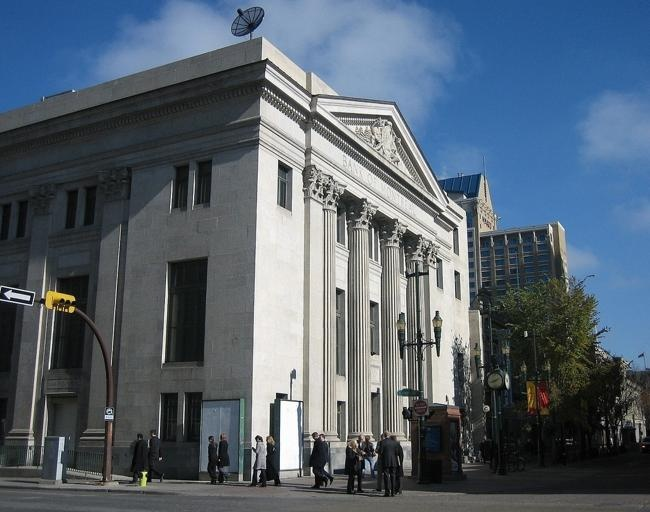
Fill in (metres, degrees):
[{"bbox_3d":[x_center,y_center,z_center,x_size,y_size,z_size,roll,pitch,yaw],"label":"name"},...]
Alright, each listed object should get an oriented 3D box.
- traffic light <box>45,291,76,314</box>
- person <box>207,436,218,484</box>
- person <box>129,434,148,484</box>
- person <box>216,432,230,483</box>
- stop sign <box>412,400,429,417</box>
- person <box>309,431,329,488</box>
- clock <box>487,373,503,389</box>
[{"bbox_3d":[-11.530,1.958,30.184,1.245,0.873,0.736,10,-22,-26],"label":"traffic light"},{"bbox_3d":[-5.171,9.371,31.964,0.472,2.007,1.199,3,-19,-8],"label":"person"},{"bbox_3d":[-8.196,8.868,30.674,0.707,2.091,1.116,5,-19,-14],"label":"person"},{"bbox_3d":[-4.699,9.265,32.097,0.592,2.237,1.166,2,-19,-7],"label":"person"},{"bbox_3d":[4.235,6.728,30.801,0.894,1.054,0.719,-1,-9,2],"label":"stop sign"},{"bbox_3d":[-0.277,8.919,30.154,0.722,2.165,1.513,0,-19,-1],"label":"person"},{"bbox_3d":[9.126,6.648,37.219,0.963,0.895,0.449,-12,-22,31],"label":"clock"}]
